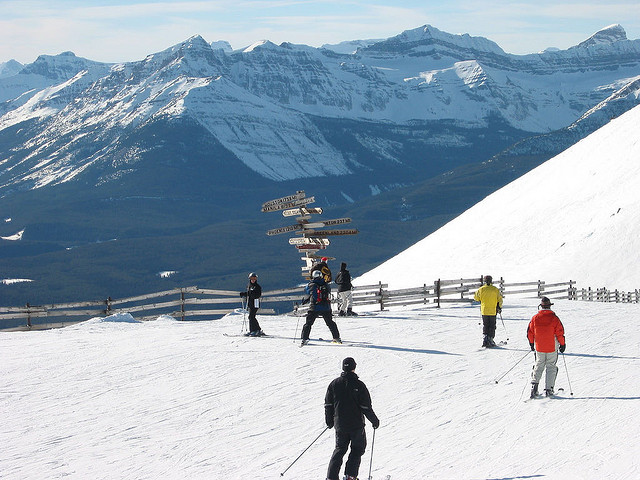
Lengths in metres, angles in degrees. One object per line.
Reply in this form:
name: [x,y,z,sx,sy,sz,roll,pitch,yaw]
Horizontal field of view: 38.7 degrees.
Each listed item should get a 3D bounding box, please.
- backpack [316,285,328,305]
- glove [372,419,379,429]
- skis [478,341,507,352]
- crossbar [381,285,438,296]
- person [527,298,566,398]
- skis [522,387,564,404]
backpack: [0.095,1.898,32.173,0.212,0.688,0.523,5,13,43]
glove: [1.499,5.017,24.870,0.161,0.300,0.363,-4,9,1]
skis: [6.281,3.885,33.425,0.806,0.203,0.179,-16,10,-23]
crossbar: [4.327,2.514,45.736,3.285,0.355,0.747,-7,9,-27]
person: [6.976,3.400,28.225,1.073,3.288,0.824,-2,10,12]
skis: [7.029,4.908,28.789,1.476,0.140,0.071,-15,42,-15]
